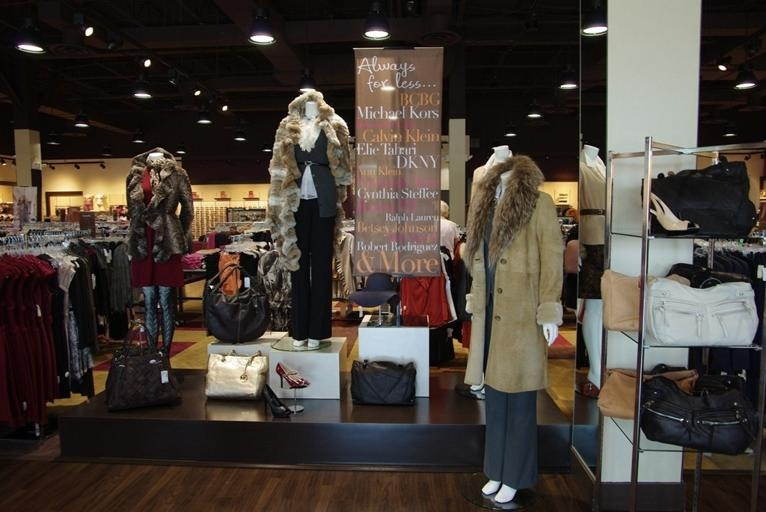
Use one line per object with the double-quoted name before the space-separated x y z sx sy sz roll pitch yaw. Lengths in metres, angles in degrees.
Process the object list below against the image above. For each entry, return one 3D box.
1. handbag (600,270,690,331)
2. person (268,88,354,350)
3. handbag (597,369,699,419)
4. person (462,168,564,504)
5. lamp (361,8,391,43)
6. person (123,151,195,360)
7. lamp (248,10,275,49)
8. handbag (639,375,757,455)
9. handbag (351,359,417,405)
"handbag" 1.664 0.316 3.881 0.441 0.458 0.133 -1 -2 -14
"person" -0.584 -0.322 5.198 0.661 2.261 0.265 -4 3 -3
"handbag" 1.768 0.963 4.073 0.437 0.168 0.447 -2 4 9
"person" 0.964 0.556 4.317 0.726 2.568 0.372 -3 4 15
"lamp" -0.095 -2.990 7.583 0.346 0.391 0.355 4 8 25
"person" -2.073 -0.054 5.575 0.596 1.956 0.471 -5 4 -21
"lamp" -1.606 -3.057 7.924 0.352 0.362 0.354 2 3 44
"handbag" 2.052 1.020 3.880 0.635 0.278 0.437 2 6 15
"handbag" 0.007 0.937 4.987 0.588 0.416 0.327 1 3 3
